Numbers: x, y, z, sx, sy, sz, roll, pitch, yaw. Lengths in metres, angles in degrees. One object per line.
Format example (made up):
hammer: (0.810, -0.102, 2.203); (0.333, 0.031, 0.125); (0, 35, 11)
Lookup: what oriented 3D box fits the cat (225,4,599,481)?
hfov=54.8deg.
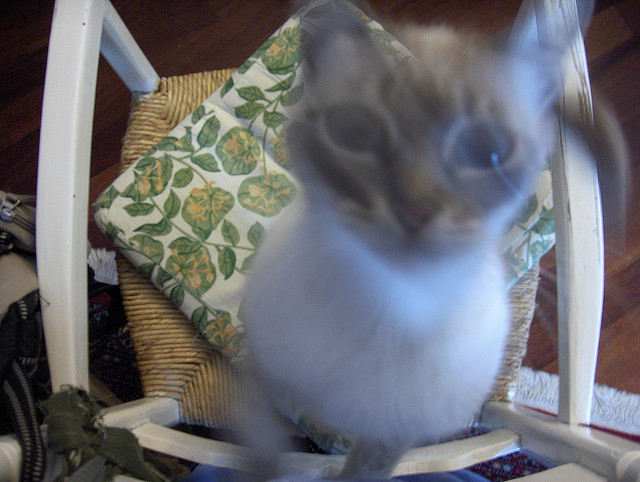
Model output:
cat: (0.100, -0.020, 0.794); (0.343, 0.248, 0.635); (16, 72, 2)
